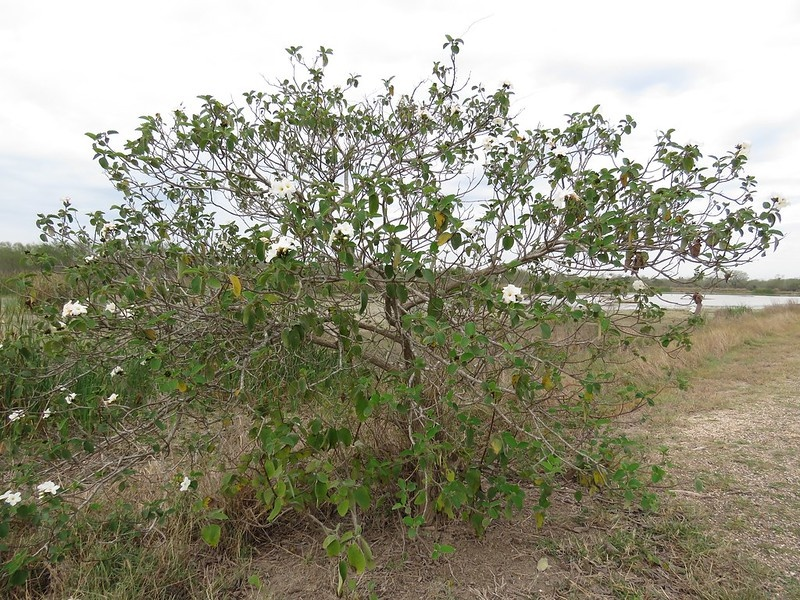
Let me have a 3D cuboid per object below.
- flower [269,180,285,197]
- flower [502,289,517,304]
[{"bbox_3d":[-0.771,-0.703,2.933,0.087,0.093,0.284,-3,13,-16],"label":"flower"},{"bbox_3d":[0.672,-0.034,2.810,0.089,0.097,0.080,3,13,13],"label":"flower"}]
